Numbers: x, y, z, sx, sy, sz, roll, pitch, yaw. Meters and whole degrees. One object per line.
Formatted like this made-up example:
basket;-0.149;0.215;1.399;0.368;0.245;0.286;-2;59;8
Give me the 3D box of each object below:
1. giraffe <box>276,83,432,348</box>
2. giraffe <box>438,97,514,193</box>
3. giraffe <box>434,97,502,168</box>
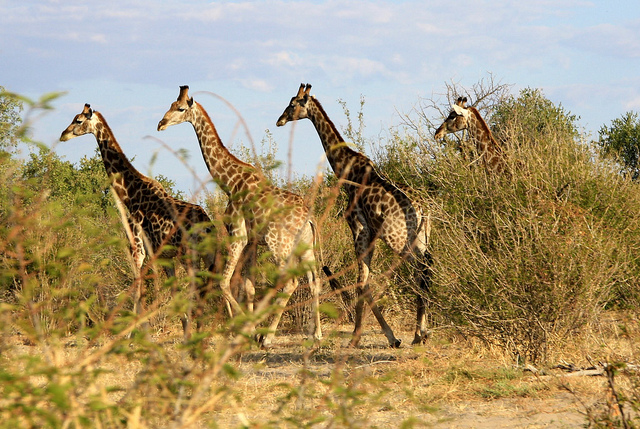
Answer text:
giraffe;0.660;0.122;11.828;1.810;3.670;3.264;2;9;-12
giraffe;2.383;-1.138;12.182;0.854;0.999;2.204;2;10;-8
giraffe;2.263;-1.285;12.783;0.363;0.931;1.123;-4;13;-42
